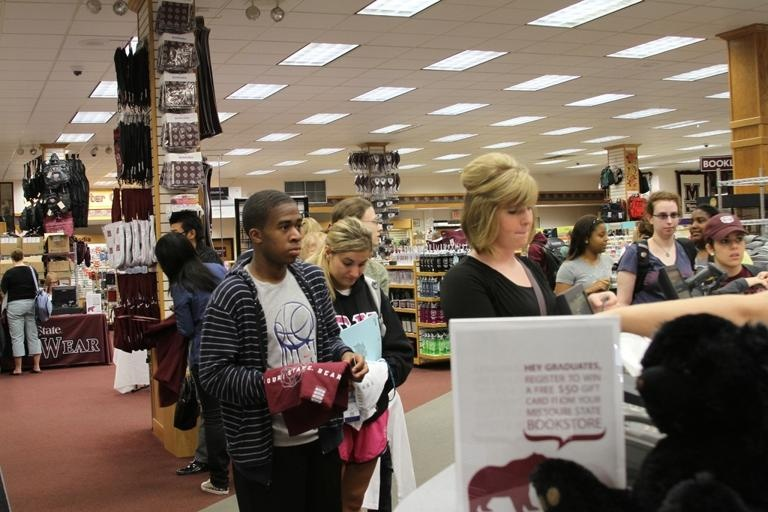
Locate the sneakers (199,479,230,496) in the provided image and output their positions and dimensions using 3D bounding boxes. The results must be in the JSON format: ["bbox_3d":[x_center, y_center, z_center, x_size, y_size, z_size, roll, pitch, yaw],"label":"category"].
[{"bbox_3d":[-1.418,1.940,4.433,0.244,0.111,0.107,9,5,33],"label":"sneakers"}]

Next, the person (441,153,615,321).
[{"bbox_3d":[0.556,-0.043,2.041,0.589,0.717,0.668,3,9,40],"label":"person"}]

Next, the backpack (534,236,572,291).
[{"bbox_3d":[2.439,0.072,7.759,0.532,0.751,0.403,-7,5,-26],"label":"backpack"}]

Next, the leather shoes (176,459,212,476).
[{"bbox_3d":[-1.741,1.942,4.927,0.369,0.145,0.144,2,-1,-9],"label":"leather shoes"}]

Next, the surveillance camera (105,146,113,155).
[{"bbox_3d":[-7.397,-2.846,14.227,0.197,0.159,0.154,7,-26,-45],"label":"surveillance camera"}]

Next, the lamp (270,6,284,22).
[{"bbox_3d":[-1.355,-3.118,6.714,0.139,0.206,0.230,-1,-1,-12],"label":"lamp"}]

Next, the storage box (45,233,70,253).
[{"bbox_3d":[-7.510,-0.266,12.169,0.492,0.455,0.487,0,-1,-36],"label":"storage box"}]

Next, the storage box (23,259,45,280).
[{"bbox_3d":[-7.139,0.266,10.762,0.539,0.324,0.523,1,0,-26],"label":"storage box"}]

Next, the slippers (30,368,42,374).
[{"bbox_3d":[-6.432,2.131,9.772,0.232,0.098,0.075,-2,-5,31],"label":"slippers"}]

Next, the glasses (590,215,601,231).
[{"bbox_3d":[2.080,-0.328,5.187,0.112,0.105,0.031,-7,12,-28],"label":"glasses"}]

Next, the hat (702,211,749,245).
[{"bbox_3d":[2.358,-0.176,3.664,0.182,0.131,0.238,-10,-13,-5],"label":"hat"}]

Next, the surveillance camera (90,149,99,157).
[{"bbox_3d":[-7.642,-2.733,13.933,0.203,0.193,0.352,17,9,-20],"label":"surveillance camera"}]
